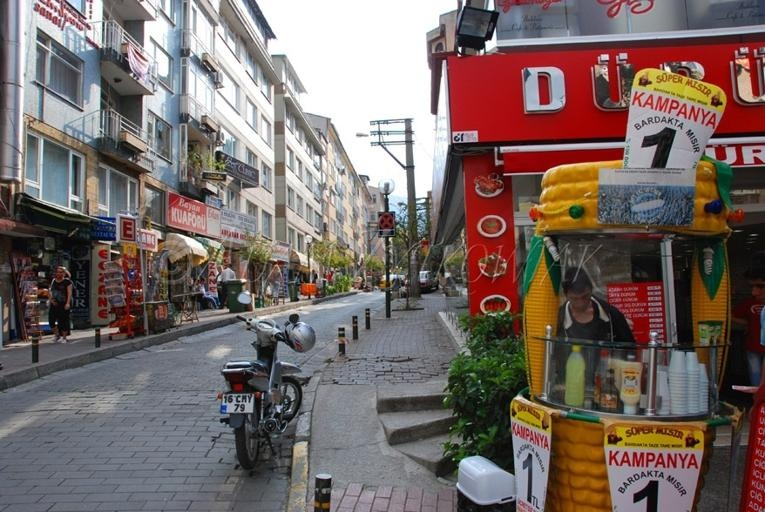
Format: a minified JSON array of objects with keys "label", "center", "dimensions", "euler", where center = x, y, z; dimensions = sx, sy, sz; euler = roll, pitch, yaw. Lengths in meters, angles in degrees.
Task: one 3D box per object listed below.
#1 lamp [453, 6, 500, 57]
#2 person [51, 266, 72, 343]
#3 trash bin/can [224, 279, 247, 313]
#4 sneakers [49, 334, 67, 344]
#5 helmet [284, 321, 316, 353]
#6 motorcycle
[{"label":"lamp","center":[1.878,-4.533,12.439],"dimensions":[0.784,0.803,0.924],"euler":[0,5,8]},{"label":"person","center":[-8.081,1.240,15.554],"dimensions":[0.508,1.908,0.924],"euler":[-3,5,-29]},{"label":"trash bin/can","center":[-5.661,1.600,24.040],"dimensions":[0.625,1.292,1.257],"euler":[-2,5,-21]},{"label":"sneakers","center":[-7.973,2.073,15.384],"dimensions":[0.484,0.219,0.174],"euler":[8,-8,-40]},{"label":"helmet","center":[-1.128,1.101,8.524],"dimensions":[0.321,0.459,0.389],"euler":[-4,1,-15]},{"label":"motorcycle","center":[-1.543,1.757,8.572],"dimensions":[1.151,1.870,1.918],"euler":[0,5,2]}]
